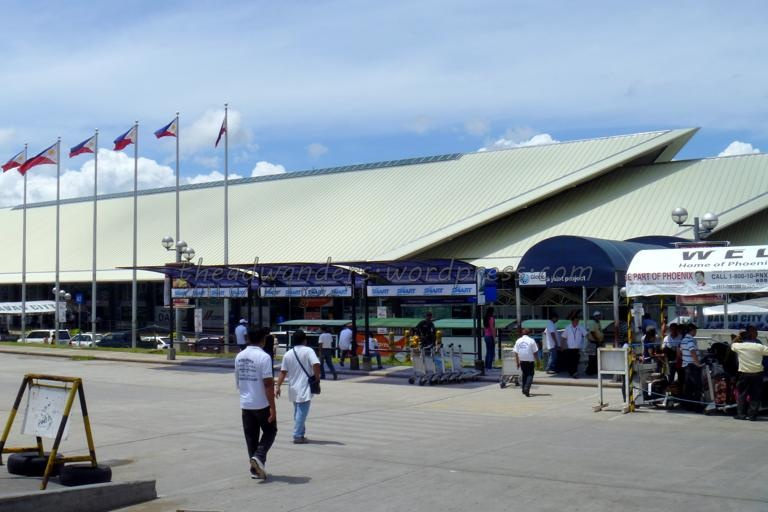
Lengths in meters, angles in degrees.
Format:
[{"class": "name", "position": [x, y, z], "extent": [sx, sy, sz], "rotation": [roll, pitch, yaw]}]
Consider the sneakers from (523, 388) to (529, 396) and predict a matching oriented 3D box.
[{"class": "sneakers", "position": [4.683, 4.424, 32.268], "extent": [0.167, 0.084, 0.214], "rotation": [3, -39, 10]}]

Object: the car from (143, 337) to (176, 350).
[{"class": "car", "position": [-12.168, 4.723, 53.819], "extent": [1.865, 0.866, 1.418], "rotation": [-10, -9, 39]}]

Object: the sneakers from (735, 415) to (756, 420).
[{"class": "sneakers", "position": [10.400, 4.623, 28.346], "extent": [0.505, 0.189, 0.163], "rotation": [3, -9, 17]}]

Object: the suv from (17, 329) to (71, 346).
[{"class": "suv", "position": [-20.491, 4.939, 59.961], "extent": [2.644, 0.873, 1.254], "rotation": [3, -3, 14]}]

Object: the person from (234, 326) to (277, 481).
[{"class": "person", "position": [-3.023, 3.457, 23.486], "extent": [0.994, 3.582, 0.916], "rotation": [2, -7, -8]}]

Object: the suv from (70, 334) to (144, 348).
[{"class": "suv", "position": [-15.555, 4.770, 55.750], "extent": [2.876, 0.822, 1.237], "rotation": [1, -3, 4]}]

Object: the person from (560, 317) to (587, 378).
[{"class": "person", "position": [6.957, 3.284, 35.793], "extent": [0.838, 2.087, 1.217], "rotation": [3, -7, -11]}]

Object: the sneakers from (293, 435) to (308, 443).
[{"class": "sneakers", "position": [-2.144, 4.765, 25.801], "extent": [0.455, 0.268, 0.140], "rotation": [0, -1, -11]}]

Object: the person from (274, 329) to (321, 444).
[{"class": "person", "position": [-2.181, 3.385, 25.617], "extent": [1.043, 2.878, 0.837], "rotation": [2, -7, -4]}]

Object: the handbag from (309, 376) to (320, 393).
[{"class": "handbag", "position": [-1.785, 3.302, 25.592], "extent": [0.186, 0.445, 0.254], "rotation": [-3, -8, 35]}]
